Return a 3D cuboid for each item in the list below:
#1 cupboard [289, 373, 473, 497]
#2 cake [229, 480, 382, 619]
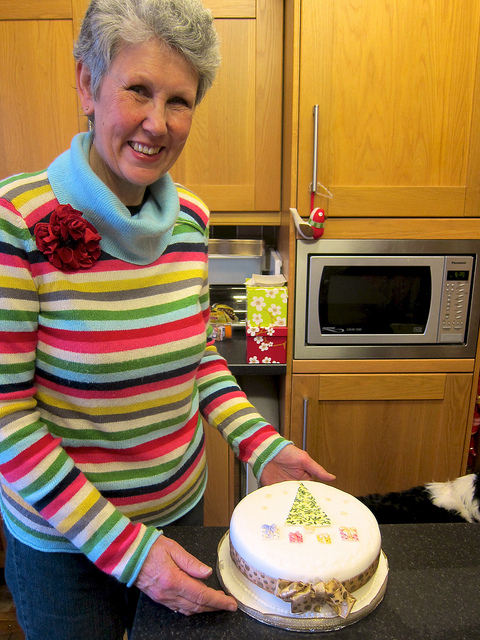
[{"bbox_3d":[0.483,0.349,2.069,0.728,0.764,0.442,0,8,-1],"label":"cupboard"},{"bbox_3d":[0.087,0.294,0.693,0.210,0.070,0.210,17,24,42],"label":"cake"}]
